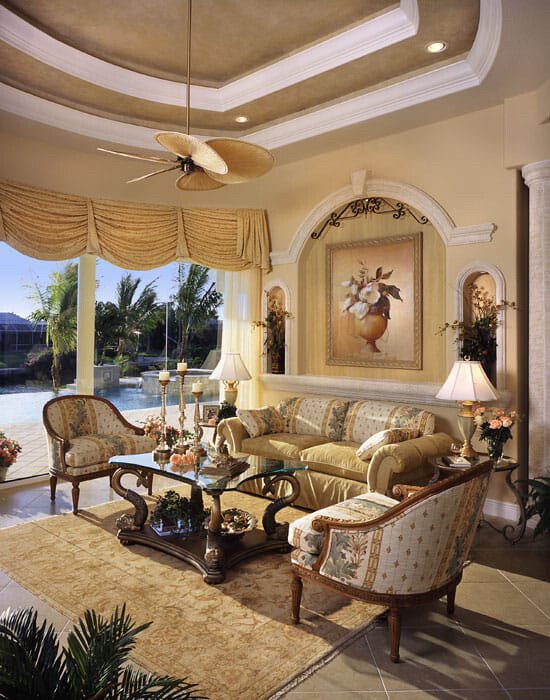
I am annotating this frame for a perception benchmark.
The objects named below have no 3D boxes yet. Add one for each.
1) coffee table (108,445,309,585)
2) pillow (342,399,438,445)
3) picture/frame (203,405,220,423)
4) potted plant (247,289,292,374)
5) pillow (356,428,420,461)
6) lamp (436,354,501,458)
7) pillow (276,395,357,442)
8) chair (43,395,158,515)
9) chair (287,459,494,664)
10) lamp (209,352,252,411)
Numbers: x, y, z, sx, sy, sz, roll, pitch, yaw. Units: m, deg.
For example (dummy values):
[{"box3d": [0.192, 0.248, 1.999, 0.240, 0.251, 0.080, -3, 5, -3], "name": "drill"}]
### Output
[{"box3d": [-0.384, 1.217, 3.812, 1.098, 0.508, 0.815, 2, 2, 44], "name": "coffee table"}, {"box3d": [1.043, 0.658, 4.891, 0.686, 0.379, 0.204, 4, -16, 46], "name": "pillow"}, {"box3d": [-0.773, 0.778, 6.360, 0.204, 0.219, 0.019, -2, -11, 22], "name": "picture/frame"}, {"box3d": [-0.039, -0.260, 6.647, 0.457, 0.909, 0.211, 1, 0, 41], "name": "potted plant"}, {"box3d": [0.993, 0.785, 4.277, 0.552, 0.249, 0.372, 0, 0, -26], "name": "pillow"}, {"box3d": [1.542, 0.461, 4.168, 0.434, 0.759, 0.703, 0, 0, 22], "name": "lamp"}, {"box3d": [0.421, 0.693, 5.445, 0.685, 0.409, 0.206, -10, -38, 46], "name": "pillow"}, {"box3d": [-1.751, 0.887, 5.317, 1.006, 1.155, 1.217, 0, 1, 38], "name": "chair"}, {"box3d": [0.585, 0.980, 2.878, 0.924, 1.043, 0.976, -1, 4, -42], "name": "chair"}, {"box3d": [-0.510, 0.351, 6.115, 0.648, 0.768, 0.621, 0, -3, -4], "name": "lamp"}]
